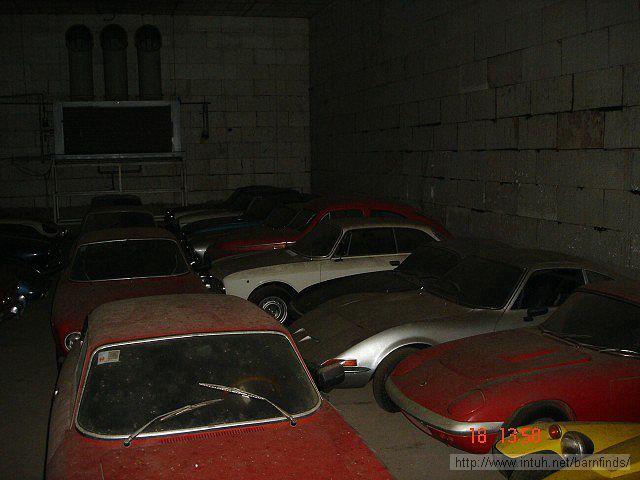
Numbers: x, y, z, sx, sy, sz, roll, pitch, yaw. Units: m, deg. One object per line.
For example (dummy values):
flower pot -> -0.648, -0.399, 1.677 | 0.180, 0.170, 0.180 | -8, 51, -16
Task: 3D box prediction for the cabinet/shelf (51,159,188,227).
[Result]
cabinet/shelf -> -7.940, -2.057, 17.889 | 4.911, 2.464, 1.869 | -6, 7, -32
